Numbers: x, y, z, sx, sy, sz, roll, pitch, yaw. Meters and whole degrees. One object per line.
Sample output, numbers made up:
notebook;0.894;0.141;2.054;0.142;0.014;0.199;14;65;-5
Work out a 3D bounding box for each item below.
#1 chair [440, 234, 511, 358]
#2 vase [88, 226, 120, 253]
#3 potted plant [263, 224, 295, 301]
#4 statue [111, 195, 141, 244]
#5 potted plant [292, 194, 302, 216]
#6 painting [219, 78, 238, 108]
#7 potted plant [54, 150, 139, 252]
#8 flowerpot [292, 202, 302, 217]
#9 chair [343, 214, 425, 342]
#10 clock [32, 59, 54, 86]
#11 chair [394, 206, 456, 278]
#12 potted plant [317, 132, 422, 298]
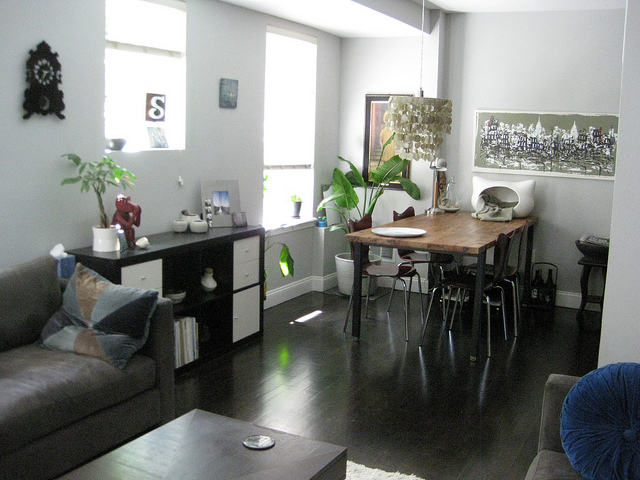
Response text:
chair;1.579;0.415;4.775;0.648;1.127;1.239;5;12;23
vase;-1.632;0.001;3.575;0.175;0.150;0.170;2;6;19
potted plant;-0.457;0.269;5.464;0.267;0.838;0.778;5;11;22
statue;-1.531;-0.162;3.738;0.194;0.352;0.181;3;11;12
potted plant;-0.286;-0.423;5.947;0.106;0.241;0.174;2;11;5
painting;-0.919;-1.456;4.712;0.040;0.325;0.273;13;16;32
potted plant;-1.639;-0.303;3.622;0.610;0.734;0.451;-9;14;-42
flowerpot;-0.289;-0.371;5.894;0.093;0.184;0.046;0;11;-4
chair;0.679;0.354;4.960;0.753;1.250;0.722;4;9;35
clock;-1.915;-1.156;3.286;0.013;0.173;0.148;6;12;27
chair;1.223;0.199;5.600;0.627;1.065;0.614;9;17;34
potted plant;0.284;-0.236;6.023;0.890;1.834;1.199;3;15;33
